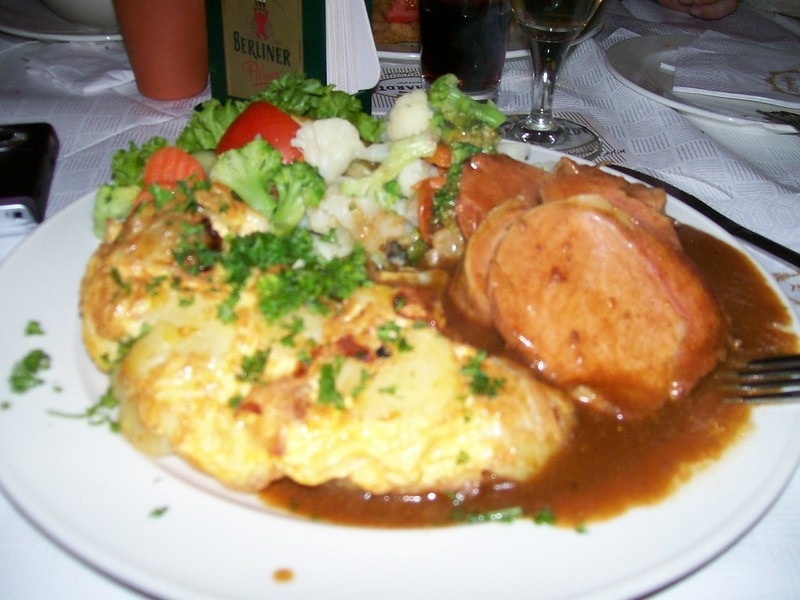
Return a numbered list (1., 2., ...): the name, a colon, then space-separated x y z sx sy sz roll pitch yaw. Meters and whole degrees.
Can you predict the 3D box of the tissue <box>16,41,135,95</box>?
1. tissue: -1.799 -1.321 3.673 0.487 0.143 0.490 32 44 21
